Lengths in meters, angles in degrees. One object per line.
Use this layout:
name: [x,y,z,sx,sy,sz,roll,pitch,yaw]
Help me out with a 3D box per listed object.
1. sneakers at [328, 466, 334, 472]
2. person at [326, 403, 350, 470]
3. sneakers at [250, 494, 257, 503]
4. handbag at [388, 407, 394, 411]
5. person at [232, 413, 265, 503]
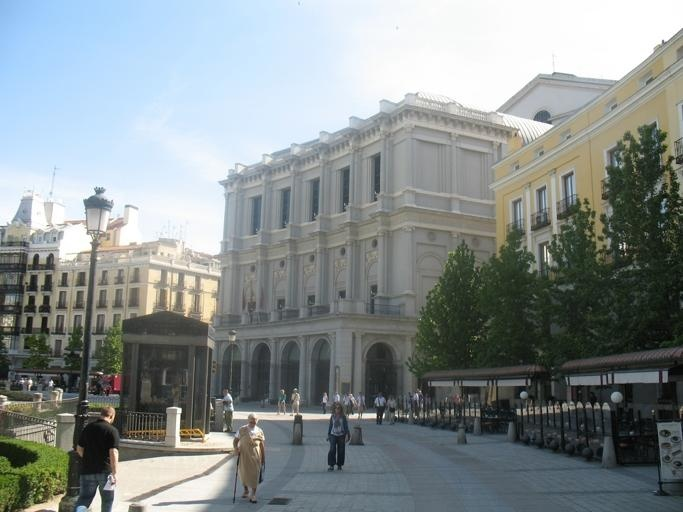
sneakers: [-0.362,6.358,16.987,0.138,0.143,0.100,-5,-10,23]
person: [-0.134,5.522,17.495,0.656,1.939,1.588,0,-15,1]
sneakers: [-2.011,5.510,12.897,0.090,0.121,0.282,3,-21,-12]
handbag: [3.000,9.319,34.659,0.325,0.275,0.195,5,-15,-17]
person: [-2.200,4.683,13.316,0.684,1.902,0.989,3,-14,-10]
